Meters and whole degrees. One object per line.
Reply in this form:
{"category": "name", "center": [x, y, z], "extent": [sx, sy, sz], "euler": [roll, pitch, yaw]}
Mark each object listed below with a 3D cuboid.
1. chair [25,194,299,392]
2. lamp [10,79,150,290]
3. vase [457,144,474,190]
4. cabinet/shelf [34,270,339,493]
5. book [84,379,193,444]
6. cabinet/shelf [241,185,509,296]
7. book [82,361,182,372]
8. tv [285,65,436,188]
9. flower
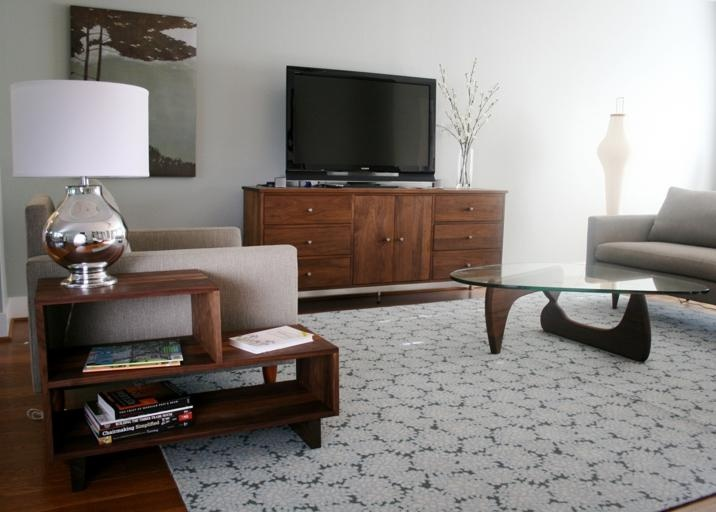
{"category": "chair", "center": [-0.887, 0.163, 2.799], "extent": [1.286, 0.931, 1.102], "euler": [-3, 8, -20]}
{"category": "lamp", "center": [-1.084, -0.293, 2.094], "extent": [0.376, 0.771, 0.395], "euler": [6, 15, 21]}
{"category": "vase", "center": [0.980, -0.798, 4.821], "extent": [0.156, 0.359, 0.656], "euler": [4, 13, 11]}
{"category": "cabinet/shelf", "center": [-0.697, 0.475, 2.233], "extent": [1.086, 0.607, 0.527], "euler": [-3, 2, -21]}
{"category": "book", "center": [-0.861, 0.604, 2.071], "extent": [0.349, 0.126, 0.263], "euler": [-7, 15, -30]}
{"category": "cabinet/shelf", "center": [0.167, -0.112, 4.554], "extent": [2.329, 0.877, 0.563], "euler": [-3, 8, -24]}
{"category": "book", "center": [-0.842, 0.416, 1.976], "extent": [0.331, 0.036, 0.018], "euler": [-3, 15, -15]}
{"category": "tv", "center": [-0.024, -1.082, 4.392], "extent": [1.365, 0.771, 0.095], "euler": [-2, 12, -21]}
{"category": "flower", "center": [1.002, -1.259, 4.928], "extent": [0.522, 1.168, 0.740], "euler": [6, 15, 19]}
